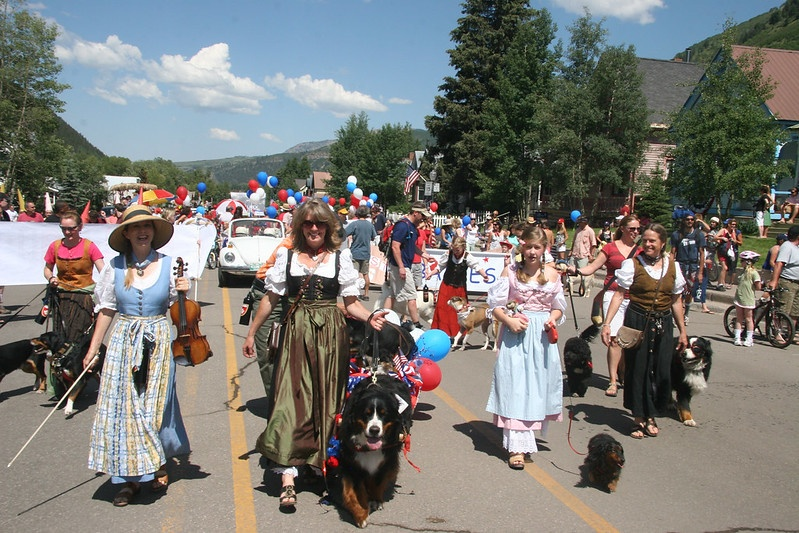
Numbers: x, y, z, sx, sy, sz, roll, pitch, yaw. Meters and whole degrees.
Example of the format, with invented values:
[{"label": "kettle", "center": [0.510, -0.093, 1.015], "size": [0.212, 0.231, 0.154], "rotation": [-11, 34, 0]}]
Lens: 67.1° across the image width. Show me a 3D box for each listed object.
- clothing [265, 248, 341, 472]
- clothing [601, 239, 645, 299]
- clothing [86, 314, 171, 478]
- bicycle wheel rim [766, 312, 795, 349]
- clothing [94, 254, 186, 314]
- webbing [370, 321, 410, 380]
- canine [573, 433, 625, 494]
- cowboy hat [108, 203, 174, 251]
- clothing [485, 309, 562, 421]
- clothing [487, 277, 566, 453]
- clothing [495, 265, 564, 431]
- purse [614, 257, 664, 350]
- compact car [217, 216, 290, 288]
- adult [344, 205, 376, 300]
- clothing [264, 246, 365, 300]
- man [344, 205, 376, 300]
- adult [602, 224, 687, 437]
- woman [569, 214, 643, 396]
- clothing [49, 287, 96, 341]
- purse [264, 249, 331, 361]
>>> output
[{"label": "clothing", "center": [-0.924, 0.991, 6.351], "size": [0.902, 2.507, 0.737], "rotation": [1, 10, -31]}, {"label": "clothing", "center": [3.621, -0.005, 9.691], "size": [0.756, 0.749, 0.399], "rotation": [3, 0, 13]}, {"label": "clothing", "center": [-2.745, 1.292, 6.081], "size": [0.810, 1.472, 0.584], "rotation": [-3, 13, -22]}, {"label": "bicycle wheel rim", "center": [7.569, 1.246, 11.859], "size": [0.186, 0.571, 0.563], "rotation": [7, 13, -23]}, {"label": "clothing", "center": [-2.782, 0.269, 6.459], "size": [1.197, 0.813, 0.539], "rotation": [0, -3, -12]}, {"label": "webbing", "center": [-0.099, 0.949, 7.038], "size": [0.402, 0.594, 0.258], "rotation": [7, -24, -8]}, {"label": "canine", "center": [2.223, 2.242, 6.913], "size": [0.374, 0.521, 1.033], "rotation": [0, -13, -11]}, {"label": "cowboy hat", "center": [-2.751, -0.455, 6.286], "size": [0.543, 0.286, 0.555], "rotation": [-22, -29, -7]}, {"label": "clothing", "center": [1.483, 1.200, 7.006], "size": [0.847, 1.326, 0.461], "rotation": [4, 12, 10]}, {"label": "clothing", "center": [1.516, 1.068, 7.041], "size": [1.016, 2.210, 0.683], "rotation": [2, 7, 6]}, {"label": "clothing", "center": [1.512, 1.086, 7.050], "size": [0.841, 1.858, 0.620], "rotation": [2, 11, 10]}, {"label": "purse", "center": [3.091, 0.452, 7.748], "size": [0.164, 1.264, 0.357], "rotation": [12, 4, -38]}, {"label": "compact car", "center": [-4.596, -0.465, 18.379], "size": [2.130, 1.675, 3.688], "rotation": [1, -1, -14]}, {"label": "adult", "center": [-1.082, -0.353, 14.789], "size": [0.895, 2.215, 0.692], "rotation": [3, 1, -36]}, {"label": "clothing", "center": [-0.893, 0.069, 6.455], "size": [1.032, 0.564, 0.363], "rotation": [3, 15, 14]}, {"label": "man", "center": [-1.042, -0.355, 14.802], "size": [0.891, 2.204, 0.669], "rotation": [4, 0, -32]}, {"label": "adult", "center": [3.233, 0.867, 7.921], "size": [1.040, 2.644, 0.645], "rotation": [1, -1, 1]}, {"label": "woman", "center": [3.270, 0.205, 9.038], "size": [1.492, 2.431, 0.761], "rotation": [1, -37, 15]}, {"label": "clothing", "center": [-4.590, 0.652, 8.352], "size": [0.735, 1.004, 0.544], "rotation": [1, 1, -26]}, {"label": "purse", "center": [-1.176, 0.468, 6.563], "size": [0.671, 1.099, 0.294], "rotation": [10, -1, 5]}]
